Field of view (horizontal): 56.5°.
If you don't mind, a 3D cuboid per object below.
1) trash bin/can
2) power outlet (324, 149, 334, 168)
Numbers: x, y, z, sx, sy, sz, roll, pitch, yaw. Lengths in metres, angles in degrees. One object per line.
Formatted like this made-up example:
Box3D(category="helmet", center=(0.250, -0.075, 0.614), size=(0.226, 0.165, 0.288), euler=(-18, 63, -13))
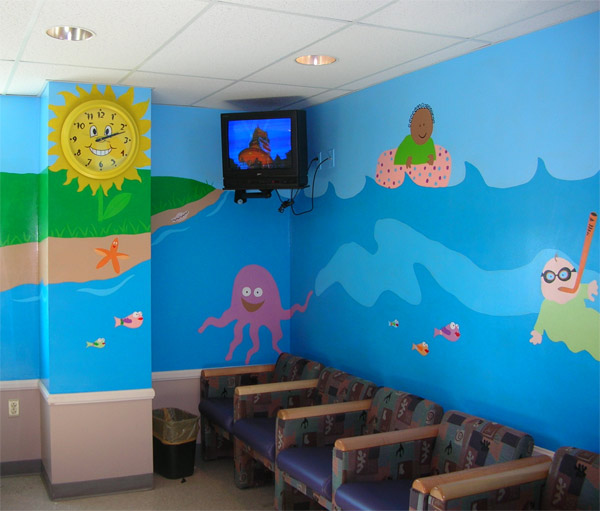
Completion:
Box3D(category="trash bin/can", center=(-1.107, 1.525, 4.709), size=(0.413, 0.545, 0.682), euler=(-1, 2, -27))
Box3D(category="power outlet", center=(0.255, -0.839, 4.875), size=(0.061, 0.192, 0.167), euler=(-3, 6, -27))
